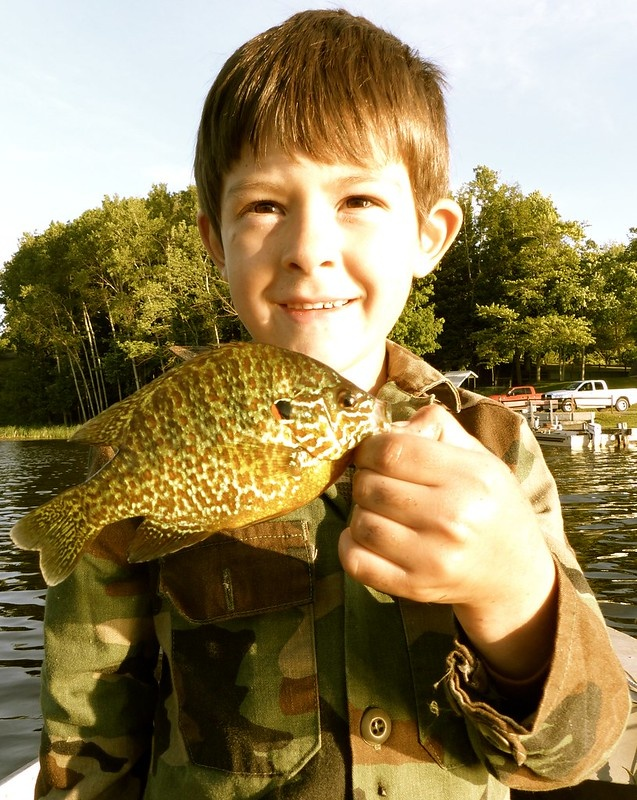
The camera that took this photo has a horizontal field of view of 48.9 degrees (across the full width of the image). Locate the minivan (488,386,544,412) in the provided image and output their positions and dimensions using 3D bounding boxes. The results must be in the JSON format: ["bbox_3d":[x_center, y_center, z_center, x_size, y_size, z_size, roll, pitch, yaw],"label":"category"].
[{"bbox_3d":[8.298,-0.090,28.701,2.686,1.059,1.455,3,-1,-13],"label":"minivan"}]
